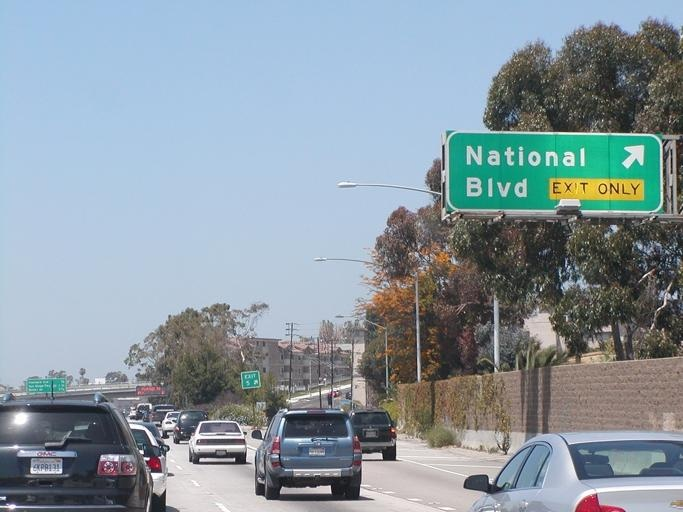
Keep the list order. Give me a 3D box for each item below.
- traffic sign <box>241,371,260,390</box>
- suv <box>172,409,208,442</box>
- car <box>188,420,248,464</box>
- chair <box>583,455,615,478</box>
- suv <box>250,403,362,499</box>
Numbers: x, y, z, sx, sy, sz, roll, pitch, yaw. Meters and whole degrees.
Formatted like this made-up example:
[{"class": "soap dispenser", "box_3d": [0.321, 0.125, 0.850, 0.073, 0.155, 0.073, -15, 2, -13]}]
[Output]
[{"class": "traffic sign", "box_3d": [-7.188, 9.789, 119.893, 1.590, 1.909, 0.234, 0, 1, 8]}, {"class": "suv", "box_3d": [-7.385, 8.509, 73.342, 1.506, 1.745, 3.633, -1, 0, -7]}, {"class": "car", "box_3d": [-4.524, 6.791, 55.331, 1.976, 1.603, 1.364, -2, -5, 2]}, {"class": "chair", "box_3d": [5.284, 4.343, 31.387, 0.604, 0.468, 0.535, -2, -6, 6]}, {"class": "suv", "box_3d": [-1.051, 5.585, 44.173, 2.422, 2.924, 4.244, 2, -11, -15]}]
